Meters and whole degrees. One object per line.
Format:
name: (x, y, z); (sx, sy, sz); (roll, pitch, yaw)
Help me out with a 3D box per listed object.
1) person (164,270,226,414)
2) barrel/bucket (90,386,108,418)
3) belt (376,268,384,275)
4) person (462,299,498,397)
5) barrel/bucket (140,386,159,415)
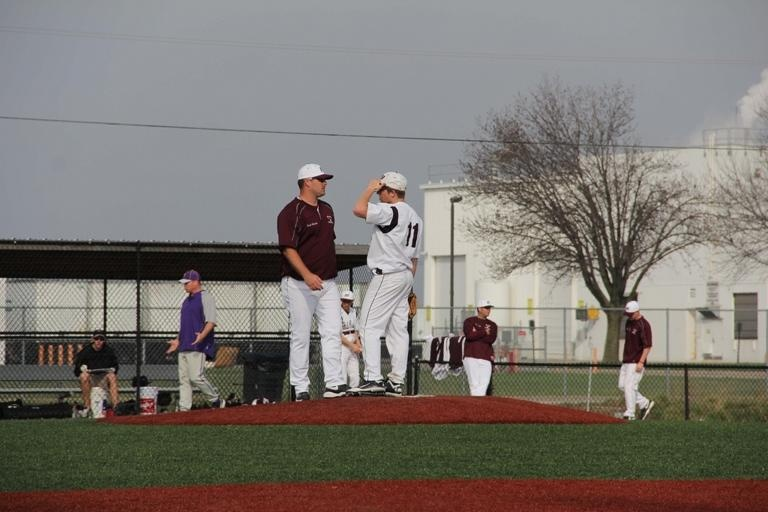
person: (-4.343, 2.008, 37.734); (1.375, 3.023, 1.097); (1, -1, -25)
barrel/bucket: (-6.718, 3.433, 38.308); (0.367, 0.745, 0.556); (1, -8, -11)
belt: (-0.081, 0.310, 34.618); (0.176, 0.134, 0.043); (-1, -8, 0)
person: (2.319, 2.189, 38.973); (0.808, 2.255, 0.638); (1, 1, 5)
barrel/bucket: (-5.507, 3.362, 38.069); (0.404, 0.695, 1.089); (1, -9, -11)
